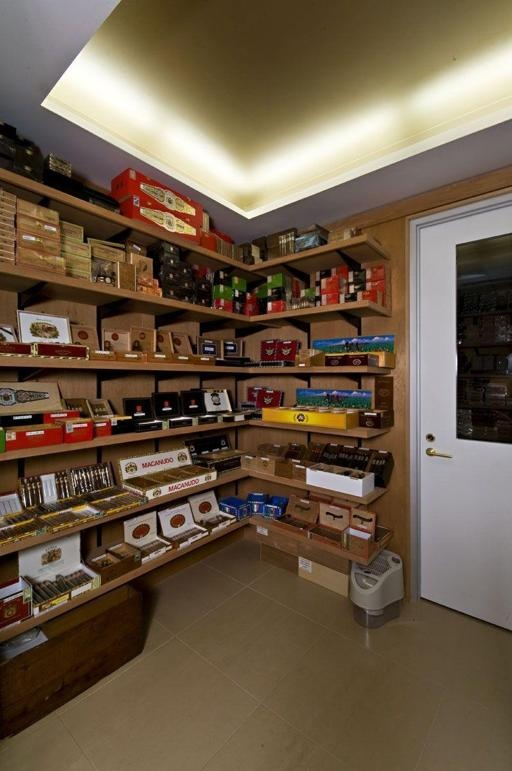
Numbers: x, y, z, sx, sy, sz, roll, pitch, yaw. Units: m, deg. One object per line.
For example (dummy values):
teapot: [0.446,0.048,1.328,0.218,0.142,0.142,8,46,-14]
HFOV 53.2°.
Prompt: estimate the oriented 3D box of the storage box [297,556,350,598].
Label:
storage box: [0.411,1.145,3.101,0.157,0.098,0.221,6,-8,-42]
